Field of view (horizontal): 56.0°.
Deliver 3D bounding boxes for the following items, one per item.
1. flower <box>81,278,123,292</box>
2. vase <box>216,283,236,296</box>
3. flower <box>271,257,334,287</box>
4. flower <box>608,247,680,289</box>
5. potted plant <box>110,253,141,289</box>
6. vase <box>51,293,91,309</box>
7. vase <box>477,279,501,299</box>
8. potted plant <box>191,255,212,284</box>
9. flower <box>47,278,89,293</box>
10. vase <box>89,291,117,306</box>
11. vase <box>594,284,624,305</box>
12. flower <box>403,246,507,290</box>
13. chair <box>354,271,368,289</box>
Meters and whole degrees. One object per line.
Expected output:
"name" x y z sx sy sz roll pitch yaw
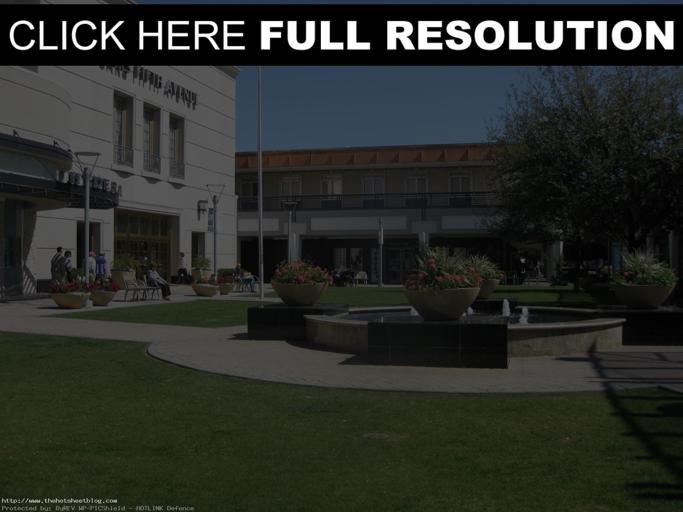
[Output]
"flower" -8.935 1.090 23.765 0.706 0.389 0.738 0 -2 31
"vase" -5.813 1.678 32.468 0.553 0.432 0.567 -3 0 -23
"flower" -0.876 0.459 15.627 0.785 0.477 0.863 1 -3 20
"flower" 7.453 0.359 16.058 1.359 1.077 1.502 0 -6 2
"potted plant" -10.804 0.821 32.114 1.545 1.729 1.503 0 -6 0
"vase" -9.497 1.564 22.659 1.141 0.602 0.795 -3 3 -23
"vase" 4.510 0.969 19.746 0.935 0.681 0.991 0 -7 3
"potted plant" -8.572 0.881 39.503 1.502 1.936 1.436 0 -3 -9
"flower" -9.654 1.120 23.088 0.962 0.466 1.026 1 -4 -10
"vase" -8.830 1.555 23.780 0.833 0.614 0.595 -2 3 -21
"vase" 9.874 1.465 23.734 1.024 0.728 1.049 3 3 43
"flower" 2.146 0.329 12.737 1.740 1.076 1.699 -4 -7 20
"chair" 1.465 1.747 47.322 0.875 1.149 0.879 -1 -15 5
